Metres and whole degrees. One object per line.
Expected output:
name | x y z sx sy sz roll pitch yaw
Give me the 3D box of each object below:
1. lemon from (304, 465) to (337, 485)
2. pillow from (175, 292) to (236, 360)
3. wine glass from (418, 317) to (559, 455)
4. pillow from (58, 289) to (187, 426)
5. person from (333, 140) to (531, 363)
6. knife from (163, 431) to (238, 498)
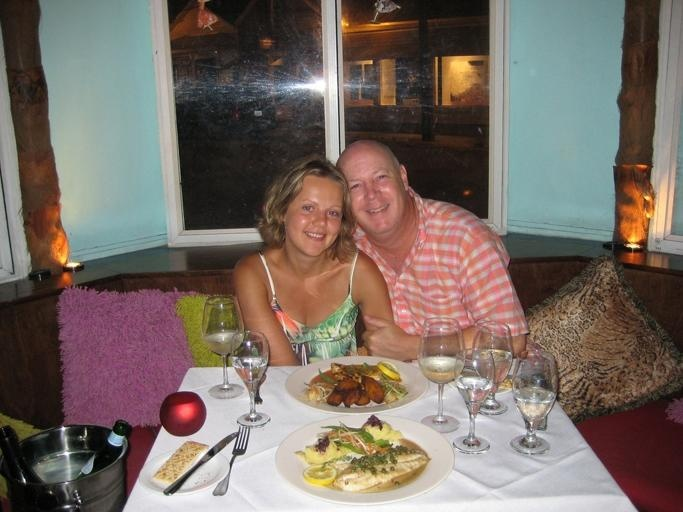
lemon | -0.056 0.576 1.418 0.087 0.027 0.062 -5 11 -12
pillow | -0.677 0.331 2.591 0.252 0.363 0.099 3 -5 8
wine glass | 0.423 0.402 1.612 0.324 0.251 0.147 7 14 37
pillow | -1.003 0.459 2.504 0.595 0.625 0.146 -2 -3 -7
person | 0.355 -0.042 2.283 0.814 0.882 0.475 1 11 19
knife | -0.360 0.550 1.550 0.045 0.022 0.396 22 23 19
